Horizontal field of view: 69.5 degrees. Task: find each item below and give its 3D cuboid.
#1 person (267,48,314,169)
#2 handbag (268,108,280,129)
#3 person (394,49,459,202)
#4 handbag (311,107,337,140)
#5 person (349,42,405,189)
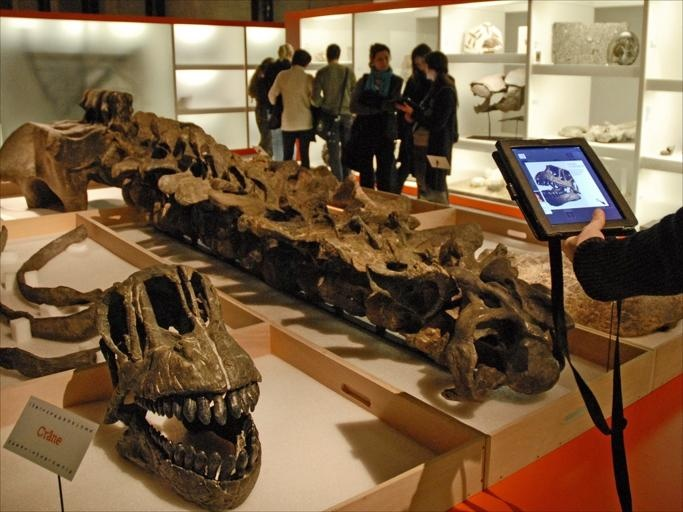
[{"bbox_3d":[-0.654,-1.853,6.571,0.684,1.716,0.535,-5,39,-10],"label":"person"},{"bbox_3d":[-0.865,-1.799,6.457,0.091,0.269,0.190,4,-25,4],"label":"handbag"},{"bbox_3d":[0.759,-1.179,4.495,0.539,1.286,1.231,4,17,11],"label":"person"},{"bbox_3d":[-0.191,-1.701,6.394,0.347,0.364,0.338,3,29,6],"label":"handbag"},{"bbox_3d":[0.354,-1.361,5.383,0.631,1.683,0.509,10,36,13],"label":"person"}]
